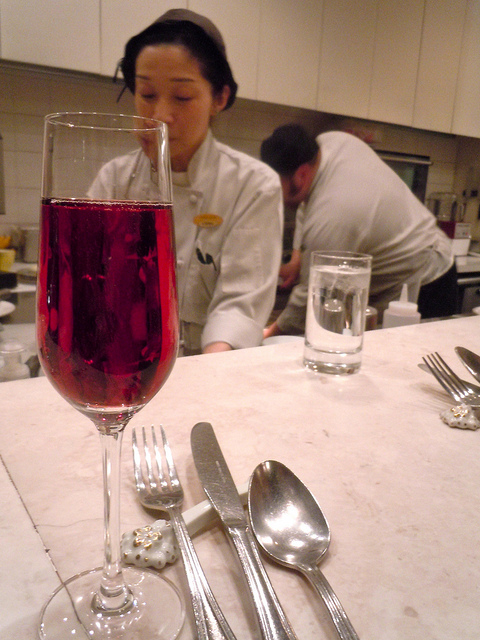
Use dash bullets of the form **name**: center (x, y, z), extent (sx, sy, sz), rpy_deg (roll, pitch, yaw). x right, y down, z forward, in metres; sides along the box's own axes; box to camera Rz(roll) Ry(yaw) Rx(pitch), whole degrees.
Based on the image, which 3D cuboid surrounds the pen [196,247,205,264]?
- **pen**: center (-0.123, -0.204, 1.538), extent (0.026, 0.049, 0.010), rpy_deg (1, 10, -3)

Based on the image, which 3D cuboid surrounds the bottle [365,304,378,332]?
- **bottle**: center (0.245, -0.003, 0.916), extent (0.019, 0.057, 0.161), rpy_deg (4, 12, 15)

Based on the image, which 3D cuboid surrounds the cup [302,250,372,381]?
- **cup**: center (0.122, -0.015, 0.625), extent (0.070, 0.157, 0.076), rpy_deg (1, 18, 0)

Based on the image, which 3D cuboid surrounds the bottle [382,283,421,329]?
- **bottle**: center (0.313, -0.027, 0.905), extent (0.041, 0.083, 0.046), rpy_deg (2, 38, 38)

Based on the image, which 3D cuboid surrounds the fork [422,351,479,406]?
- **fork**: center (0.231, 0.063, 0.545), extent (0.015, 0.016, 0.097), rpy_deg (-10, 19, -4)

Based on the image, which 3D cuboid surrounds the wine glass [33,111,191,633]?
- **wine glass**: center (-0.058, 0.028, 0.229), extent (0.071, 0.238, 0.056), rpy_deg (0, 10, -7)

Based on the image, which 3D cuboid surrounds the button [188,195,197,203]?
- **button**: center (-0.145, -0.377, 1.510), extent (0.021, 0.027, 0.013), rpy_deg (-1, -2, 6)

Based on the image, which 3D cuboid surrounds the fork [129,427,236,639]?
- **fork**: center (-0.047, 0.092, 0.343), extent (0.030, 0.032, 0.256), rpy_deg (11, 16, -18)

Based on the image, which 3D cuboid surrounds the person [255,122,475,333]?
- **person**: center (0.780, -0.710, 3.164), extent (1.197, 1.536, 0.917), rpy_deg (-6, 24, -6)
